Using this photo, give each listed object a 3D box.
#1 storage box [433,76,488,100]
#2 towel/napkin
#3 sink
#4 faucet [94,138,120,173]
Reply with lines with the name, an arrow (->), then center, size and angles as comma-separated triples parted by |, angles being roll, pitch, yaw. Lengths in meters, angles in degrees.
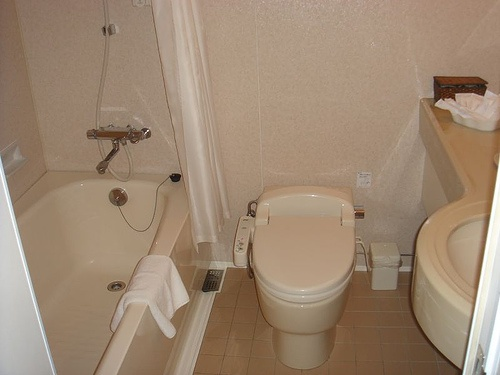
storage box -> 0.992, -0.455, 1.787 | 0.246, 0.112, 0.198 | 8, 29, 19
towel/napkin -> -0.414, 0.448, 1.578 | 0.264, 0.207, 0.293 | 0, 27, 6
sink -> 0.586, 0.217, 1.083 | 0.297, 0.151, 0.411 | 6, 34, 36
faucet -> -0.792, -0.188, 2.089 | 0.048, 0.195, 0.052 | 22, 0, 4
